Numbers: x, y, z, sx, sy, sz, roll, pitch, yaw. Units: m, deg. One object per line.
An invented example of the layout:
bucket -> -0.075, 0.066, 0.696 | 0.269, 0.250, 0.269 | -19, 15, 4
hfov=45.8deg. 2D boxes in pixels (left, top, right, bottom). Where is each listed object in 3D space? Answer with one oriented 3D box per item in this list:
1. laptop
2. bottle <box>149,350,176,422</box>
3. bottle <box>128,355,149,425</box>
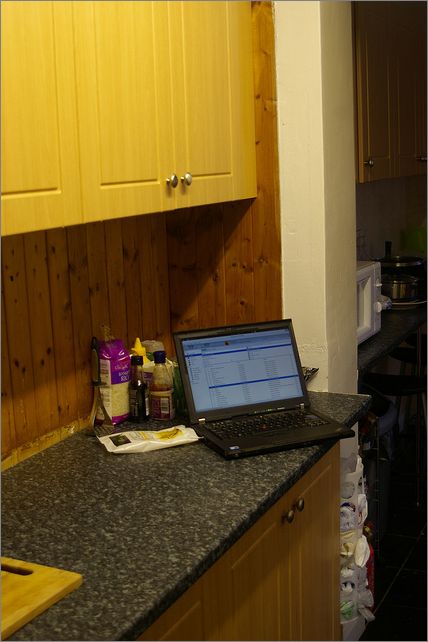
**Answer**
laptop -> 0.119, 0.167, 1.358 | 0.409, 0.304, 0.308 | -5, 2, -17
bottle -> -0.156, 0.192, 1.492 | 0.075, 0.141, 0.067 | -4, 2, -8
bottle -> -0.224, 0.200, 1.486 | 0.049, 0.140, 0.058 | -5, 3, -42
